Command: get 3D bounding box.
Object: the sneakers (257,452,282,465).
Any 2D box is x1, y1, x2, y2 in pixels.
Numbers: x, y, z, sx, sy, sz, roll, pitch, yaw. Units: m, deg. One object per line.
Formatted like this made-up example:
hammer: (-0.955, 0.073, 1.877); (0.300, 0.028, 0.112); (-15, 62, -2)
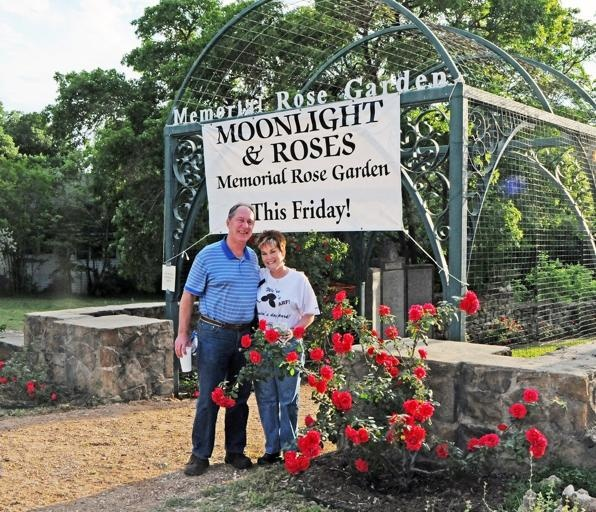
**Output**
sneakers: (-0.257, 1.839, 7.218); (0.292, 0.124, 0.102); (3, -4, -3)
